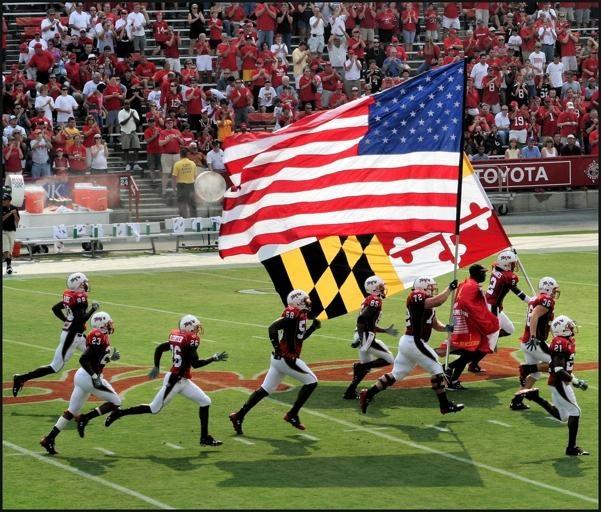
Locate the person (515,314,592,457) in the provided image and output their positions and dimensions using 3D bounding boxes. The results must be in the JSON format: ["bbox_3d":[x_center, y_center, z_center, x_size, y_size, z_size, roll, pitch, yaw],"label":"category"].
[{"bbox_3d":[3.026,1.449,11.845,0.780,1.581,1.391,2,9,12],"label":"person"}]

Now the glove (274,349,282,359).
[{"bbox_3d":[-0.278,1.201,12.101,0.109,0.096,0.104,-2,4,-3],"label":"glove"}]

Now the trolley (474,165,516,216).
[{"bbox_3d":[5.986,-2.048,31.922,1.844,1.509,1.282,-9,1,0],"label":"trolley"}]

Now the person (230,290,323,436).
[{"bbox_3d":[-0.293,1.283,12.529,0.995,1.746,1.111,0,8,1],"label":"person"}]

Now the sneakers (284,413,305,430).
[{"bbox_3d":[-0.083,2.073,12.391,0.284,0.136,0.094,35,7,-11],"label":"sneakers"}]

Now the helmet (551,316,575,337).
[{"bbox_3d":[3.023,0.832,11.487,0.291,0.216,0.213,-11,13,7],"label":"helmet"}]

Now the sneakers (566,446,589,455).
[{"bbox_3d":[3.179,2.234,11.361,0.297,0.109,0.093,-2,7,-6],"label":"sneakers"}]

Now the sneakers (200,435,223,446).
[{"bbox_3d":[-1.063,2.175,11.684,0.316,0.143,0.105,0,7,-14],"label":"sneakers"}]

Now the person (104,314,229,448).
[{"bbox_3d":[-1.563,1.513,11.703,1.605,1.393,0.552,-2,-9,1],"label":"person"}]

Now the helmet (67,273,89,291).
[{"bbox_3d":[-2.997,0.343,13.410,0.265,0.276,0.595,-2,9,-12],"label":"helmet"}]

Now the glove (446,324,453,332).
[{"bbox_3d":[1.976,0.962,13.230,0.081,0.089,0.098,4,10,5],"label":"glove"}]

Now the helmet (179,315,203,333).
[{"bbox_3d":[-1.273,0.799,11.680,0.265,0.198,0.183,-6,16,-26],"label":"helmet"}]

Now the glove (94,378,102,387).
[{"bbox_3d":[-2.347,1.461,11.489,0.081,0.116,0.075,15,19,4],"label":"glove"}]

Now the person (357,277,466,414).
[{"bbox_3d":[1.454,1.204,12.719,1.278,1.783,0.634,1,9,9],"label":"person"}]

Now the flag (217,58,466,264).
[{"bbox_3d":[0.534,-1.337,13.720,3.837,2.496,0.440,-5,16,-24],"label":"flag"}]

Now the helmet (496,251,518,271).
[{"bbox_3d":[2.999,0.088,14.513,0.341,0.275,0.243,-11,29,0],"label":"helmet"}]

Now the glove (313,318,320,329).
[{"bbox_3d":[0.246,0.909,13.297,0.131,0.115,0.094,-10,15,-17],"label":"glove"}]

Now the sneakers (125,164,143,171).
[{"bbox_3d":[-4.955,-2.658,29.628,0.607,0.223,0.195,-1,16,-2],"label":"sneakers"}]

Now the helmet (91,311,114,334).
[{"bbox_3d":[-2.322,0.810,11.809,0.315,0.258,0.228,-5,12,-27],"label":"helmet"}]

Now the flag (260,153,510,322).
[{"bbox_3d":[1.102,-0.260,13.912,3.259,2.167,0.236,-12,11,-1],"label":"flag"}]

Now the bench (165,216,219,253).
[{"bbox_3d":[-2.994,-0.690,27.561,1.458,1.046,2.516,-1,9,-7],"label":"bench"}]

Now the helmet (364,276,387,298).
[{"bbox_3d":[0.990,0.413,13.235,0.308,0.258,0.223,-7,12,-9],"label":"helmet"}]

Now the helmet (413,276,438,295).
[{"bbox_3d":[1.618,0.384,12.846,0.287,0.214,0.206,-3,8,-4],"label":"helmet"}]

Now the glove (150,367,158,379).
[{"bbox_3d":[-1.756,1.422,11.880,0.131,0.144,0.065,1,6,-2],"label":"glove"}]

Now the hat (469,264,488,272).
[{"bbox_3d":[2.502,0.176,13.993,0.249,0.108,0.167,-2,5,5],"label":"hat"}]

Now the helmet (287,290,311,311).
[{"bbox_3d":[-0.029,0.552,12.297,0.289,0.209,0.199,-7,12,-15],"label":"helmet"}]
